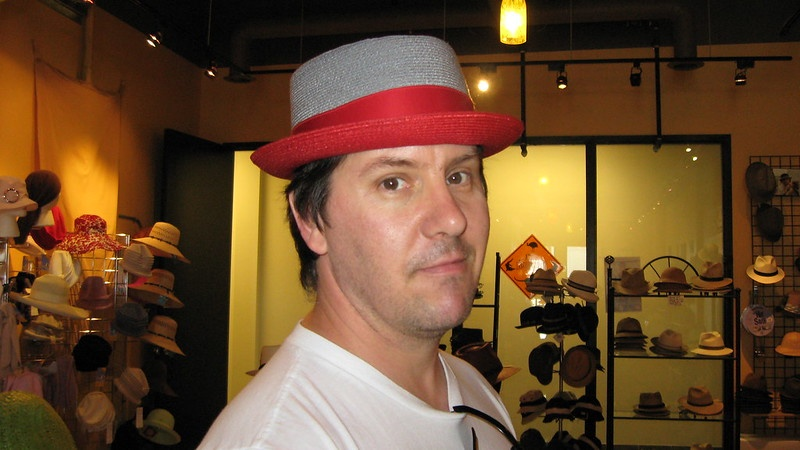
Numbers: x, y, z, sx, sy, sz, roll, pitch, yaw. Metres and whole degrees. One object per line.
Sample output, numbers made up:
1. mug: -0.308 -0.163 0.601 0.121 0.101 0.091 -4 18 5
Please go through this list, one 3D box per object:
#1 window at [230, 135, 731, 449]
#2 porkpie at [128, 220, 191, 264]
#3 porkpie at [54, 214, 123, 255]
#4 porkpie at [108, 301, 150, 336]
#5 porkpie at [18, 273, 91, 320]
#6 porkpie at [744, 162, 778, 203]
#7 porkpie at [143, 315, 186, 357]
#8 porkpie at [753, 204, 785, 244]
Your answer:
1. window: 1.398 0.737 6.877 4.463 3.651 1.436 0 -1 4
2. porkpie: -2.957 0.144 8.092 0.757 0.393 0.748 16 4 -33
3. porkpie: -3.556 0.053 7.258 0.487 0.248 0.492 10 10 33
4. porkpie: -3.114 1.052 7.470 0.434 0.212 0.579 20 13 -25
5. porkpie: -3.742 0.686 6.870 0.752 0.292 0.662 18 8 5
6. porkpie: 4.861 -0.583 8.704 0.440 0.505 0.181 -20 1 -23
7. porkpie: -2.824 1.307 7.706 0.512 0.279 0.420 22 -7 41
8. porkpie: 4.988 -0.018 8.774 0.390 0.514 0.174 -20 -2 5
